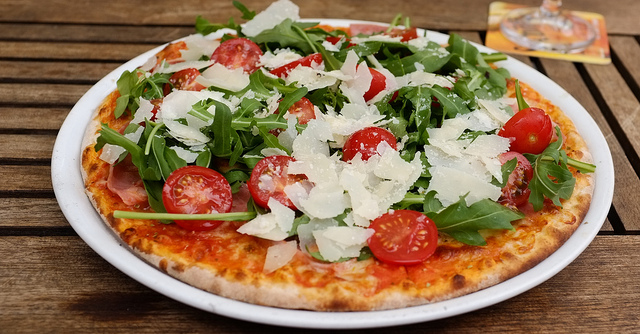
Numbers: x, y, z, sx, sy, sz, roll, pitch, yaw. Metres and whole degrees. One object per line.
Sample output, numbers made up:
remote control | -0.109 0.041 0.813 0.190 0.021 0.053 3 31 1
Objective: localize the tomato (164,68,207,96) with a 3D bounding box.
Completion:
tomato | -1.315 -0.850 5.192 0.361 0.097 0.231 0 73 -8

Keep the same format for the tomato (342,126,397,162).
tomato | 0.423 -0.244 4.712 0.393 0.208 0.329 -34 53 -29
